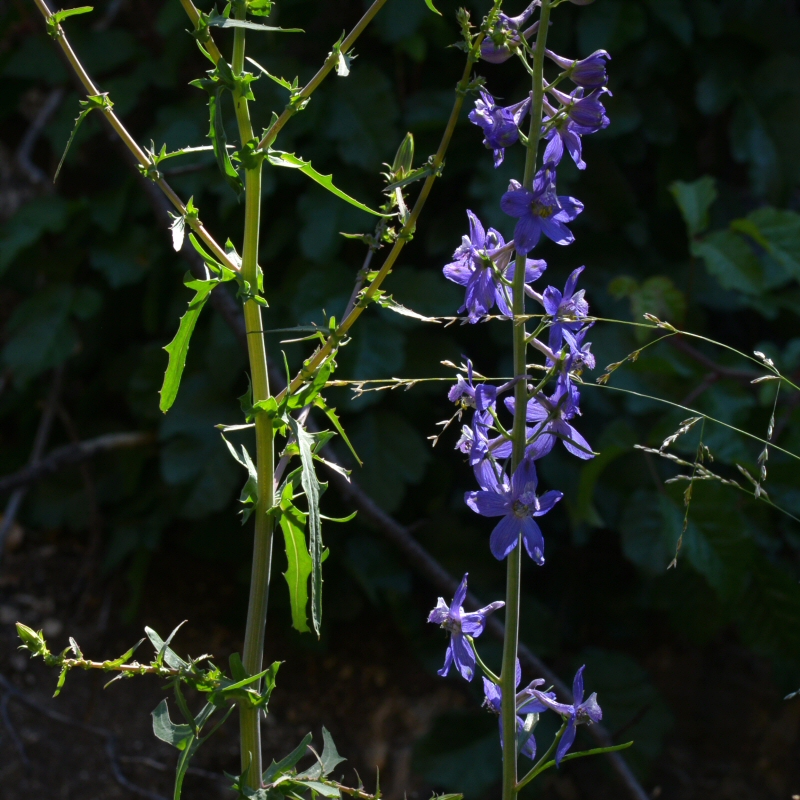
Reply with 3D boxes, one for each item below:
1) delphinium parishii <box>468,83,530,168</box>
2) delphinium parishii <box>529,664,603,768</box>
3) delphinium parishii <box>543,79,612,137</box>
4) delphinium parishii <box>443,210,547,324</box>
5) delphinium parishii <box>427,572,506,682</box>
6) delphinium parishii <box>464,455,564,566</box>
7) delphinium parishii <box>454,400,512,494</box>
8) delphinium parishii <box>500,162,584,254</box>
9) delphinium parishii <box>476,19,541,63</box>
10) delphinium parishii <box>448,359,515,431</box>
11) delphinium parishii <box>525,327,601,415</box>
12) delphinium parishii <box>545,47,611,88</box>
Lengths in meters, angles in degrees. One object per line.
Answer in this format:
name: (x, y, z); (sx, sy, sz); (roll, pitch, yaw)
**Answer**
delphinium parishii: (0.100, -0.287, 1.172); (0.069, 0.089, 0.083); (10, 18, 14)
delphinium parishii: (0.191, 0.335, 1.203); (0.084, 0.035, 0.087); (-27, -19, 20)
delphinium parishii: (0.180, -0.299, 1.143); (0.062, 0.050, 0.057); (13, 15, 5)
delphinium parishii: (0.100, -0.145, 1.166); (0.109, 0.097, 0.107); (13, -15, 3)
delphinium parishii: (0.063, 0.240, 1.182); (0.084, 0.045, 0.103); (-36, 12, -7)
delphinium parishii: (0.126, 0.101, 1.150); (0.131, 0.056, 0.125); (12, 2, -23)
delphinium parishii: (0.102, 0.052, 1.183); (0.069, 0.078, 0.043); (15, 2, 15)
delphinium parishii: (0.139, -0.188, 1.115); (0.072, 0.095, 0.046); (-13, 10, -9)
delphinium parishii: (0.113, -0.379, 1.158); (0.054, 0.061, 0.128); (12, 15, 2)
delphinium parishii: (0.079, -0.004, 1.158); (0.067, 0.037, 0.074); (3, -16, 13)
delphinium parishii: (0.162, -0.033, 1.151); (0.091, 0.062, 0.068); (-16, -14, 41)
delphinium parishii: (0.184, -0.340, 1.157); (0.064, 0.039, 0.028); (22, 42, -7)
